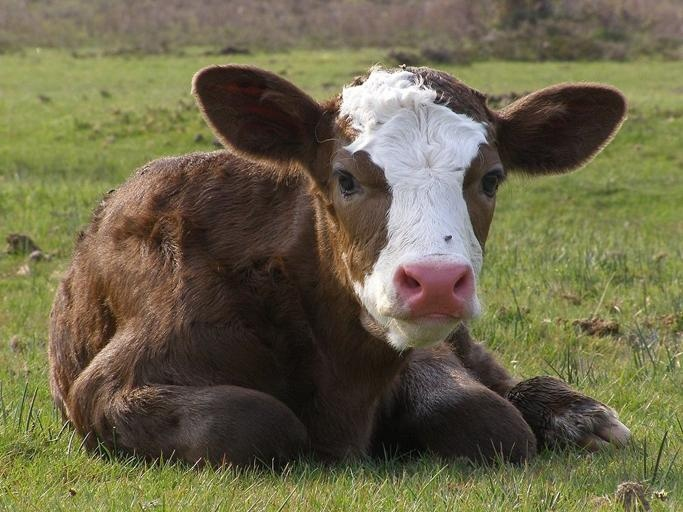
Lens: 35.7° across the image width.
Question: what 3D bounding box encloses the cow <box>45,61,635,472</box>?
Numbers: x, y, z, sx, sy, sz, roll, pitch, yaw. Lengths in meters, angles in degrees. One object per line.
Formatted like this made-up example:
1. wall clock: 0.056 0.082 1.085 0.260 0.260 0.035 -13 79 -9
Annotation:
1. cow: -0.224 0.177 7.518 2.573 1.764 3.707 5 -12 -29
